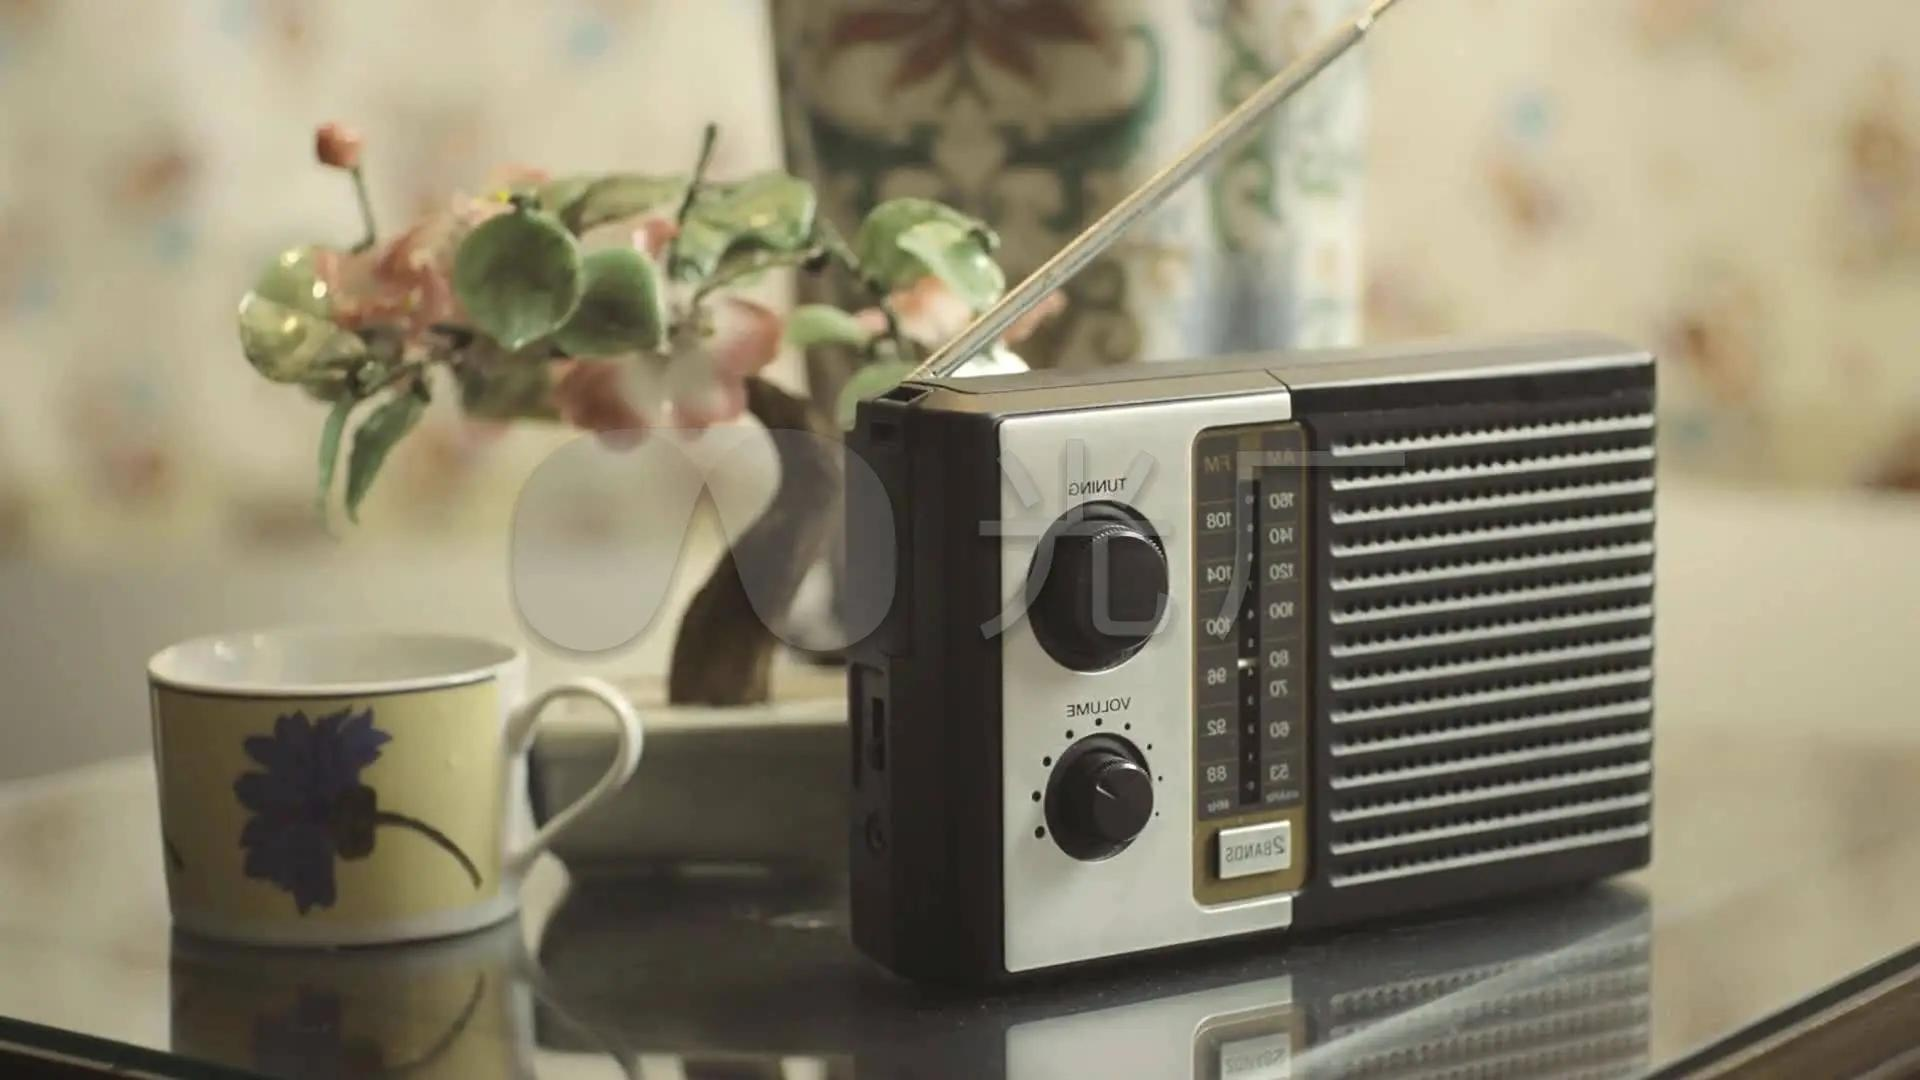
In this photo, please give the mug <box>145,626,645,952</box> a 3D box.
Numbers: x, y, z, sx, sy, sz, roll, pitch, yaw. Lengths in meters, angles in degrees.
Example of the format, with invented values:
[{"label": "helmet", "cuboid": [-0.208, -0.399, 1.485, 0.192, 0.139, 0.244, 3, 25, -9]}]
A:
[{"label": "mug", "cuboid": [-0.298, 0.128, 1.370, 0.219, 0.117, 0.160, 2, -3, -6]}]
